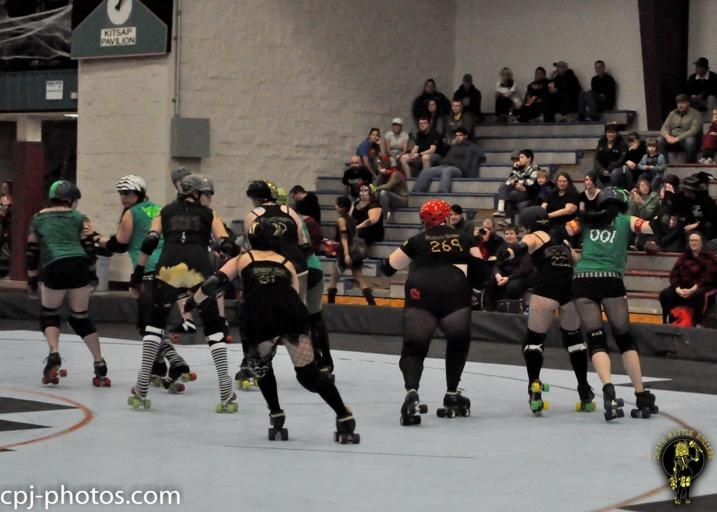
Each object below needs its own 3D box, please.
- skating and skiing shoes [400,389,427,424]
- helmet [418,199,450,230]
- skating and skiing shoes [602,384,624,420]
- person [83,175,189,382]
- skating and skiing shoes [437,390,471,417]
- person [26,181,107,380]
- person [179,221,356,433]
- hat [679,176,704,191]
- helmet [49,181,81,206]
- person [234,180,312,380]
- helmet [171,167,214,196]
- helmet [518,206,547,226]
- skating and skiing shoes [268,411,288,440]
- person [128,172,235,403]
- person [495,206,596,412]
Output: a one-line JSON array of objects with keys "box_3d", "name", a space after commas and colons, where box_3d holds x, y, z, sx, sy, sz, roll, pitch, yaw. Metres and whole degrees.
[{"box_3d": [0.538, 1.418, 9.260, 0.264, 0.248, 0.476, -1, -1, -3], "name": "skating and skiing shoes"}, {"box_3d": [0.746, -0.426, 9.432, 0.319, 0.311, 0.248, 9, 11, 35], "name": "helmet"}, {"box_3d": [2.496, 1.446, 9.192, 0.203, 0.210, 0.363, -6, 49, 7], "name": "skating and skiing shoes"}, {"box_3d": [-2.508, 0.289, 10.524, 1.194, 2.375, 0.640, 1, 2, -6], "name": "person"}, {"box_3d": [1.006, 1.505, 9.611, 0.361, 0.258, 0.195, -3, 2, -25], "name": "skating and skiing shoes"}, {"box_3d": [-3.394, 0.279, 10.947, 1.037, 2.203, 0.748, 1, 2, -3], "name": "person"}, {"box_3d": [-0.724, 0.680, 8.467, 1.434, 1.957, 0.558, 4, 7, 28], "name": "person"}, {"box_3d": [5.063, -1.101, 14.185, 0.254, 0.098, 0.242, 11, 31, 6], "name": "hat"}, {"box_3d": [-3.347, -0.721, 10.682, 0.258, 0.303, 0.328, 4, 5, 28], "name": "helmet"}, {"box_3d": [-0.906, 0.278, 10.156, 0.750, 2.149, 0.726, 2, -1, -3], "name": "person"}, {"box_3d": [-1.795, -0.787, 9.928, 0.443, 0.288, 0.324, 16, 1, -6], "name": "helmet"}, {"box_3d": [1.823, -0.436, 9.719, 0.249, 0.200, 0.187, 14, 22, 14], "name": "helmet"}, {"box_3d": [-0.740, 1.556, 8.601, 0.194, 0.248, 0.589, 0, -8, -6], "name": "skating and skiing shoes"}, {"box_3d": [-1.821, 0.342, 9.950, 1.131, 2.528, 1.031, 1, -12, -10], "name": "person"}, {"box_3d": [1.989, 0.493, 9.941, 0.923, 2.186, 0.874, 1, 10, 19], "name": "person"}]
